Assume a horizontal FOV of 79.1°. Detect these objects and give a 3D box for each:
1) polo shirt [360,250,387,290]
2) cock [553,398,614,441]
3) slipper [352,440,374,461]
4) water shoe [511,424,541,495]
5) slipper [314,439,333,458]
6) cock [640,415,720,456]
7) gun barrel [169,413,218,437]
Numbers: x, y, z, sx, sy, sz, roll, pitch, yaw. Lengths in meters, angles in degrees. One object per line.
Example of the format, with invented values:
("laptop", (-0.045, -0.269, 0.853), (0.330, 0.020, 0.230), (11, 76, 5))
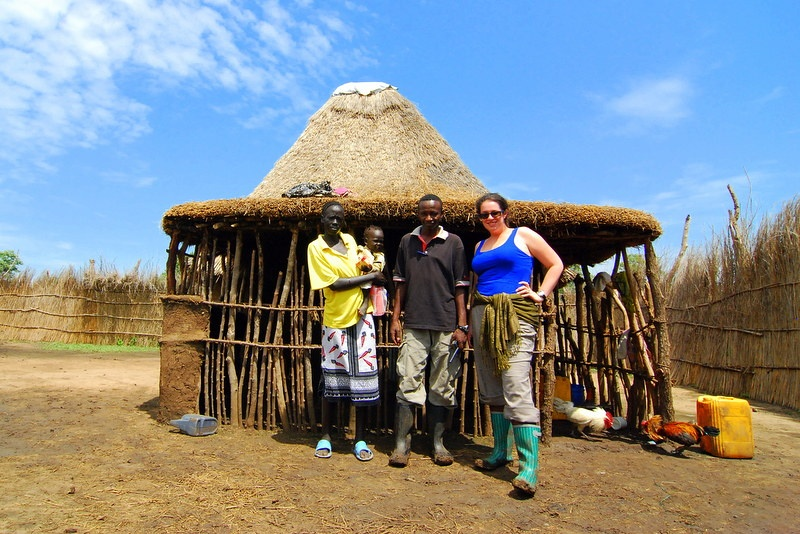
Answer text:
("polo shirt", (-0.322, 0.037, 5.541), (0.342, 0.382, 0.263), (12, -48, -27))
("cock", (2.442, 2.057, 6.632), (0.947, 0.510, 0.583), (0, -1, 4))
("slipper", (-0.410, 2.055, 5.434), (0.224, 0.178, 0.177), (2, 3, -3))
("water shoe", (1.216, 1.888, 4.766), (0.246, 0.679, 0.210), (3, 4, 10))
("slipper", (-0.855, 2.047, 5.495), (0.229, 0.179, 0.206), (1, 4, -18))
("cock", (3.481, 2.072, 6.046), (0.823, 0.463, 0.332), (-16, -29, 30))
("gun barrel", (-2.584, 1.941, 6.055), (0.463, 0.171, 0.266), (1, -1, 31))
